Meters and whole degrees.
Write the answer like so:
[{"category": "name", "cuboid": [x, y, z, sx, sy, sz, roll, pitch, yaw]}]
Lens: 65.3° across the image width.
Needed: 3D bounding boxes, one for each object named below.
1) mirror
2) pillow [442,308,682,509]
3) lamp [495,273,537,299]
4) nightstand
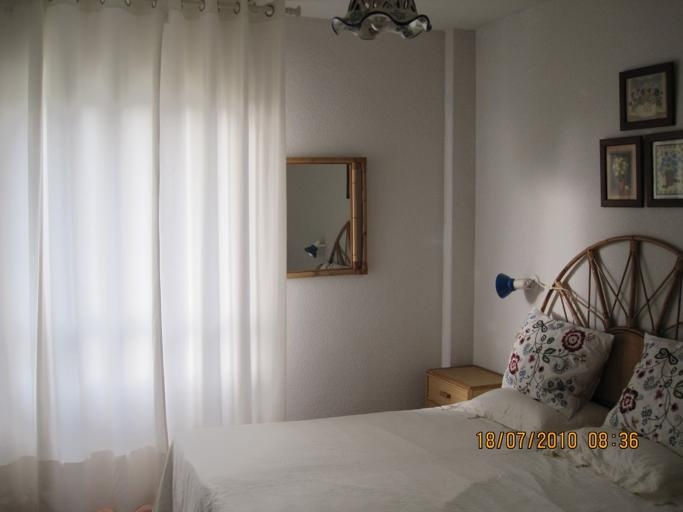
[{"category": "mirror", "cuboid": [-0.144, -0.313, 3.956, 0.818, 0.937, 0.070, -2, 3, -19]}, {"category": "pillow", "cuboid": [1.317, 0.810, 2.955, 0.797, 0.568, 0.849, -4, 5, -25]}, {"category": "lamp", "cuboid": [1.252, 0.209, 3.819, 0.142, 0.153, 0.230, -8, 2, -28]}, {"category": "nightstand", "cuboid": [0.947, 0.961, 4.035, 0.315, 0.411, 0.417, -1, 4, -23]}]
